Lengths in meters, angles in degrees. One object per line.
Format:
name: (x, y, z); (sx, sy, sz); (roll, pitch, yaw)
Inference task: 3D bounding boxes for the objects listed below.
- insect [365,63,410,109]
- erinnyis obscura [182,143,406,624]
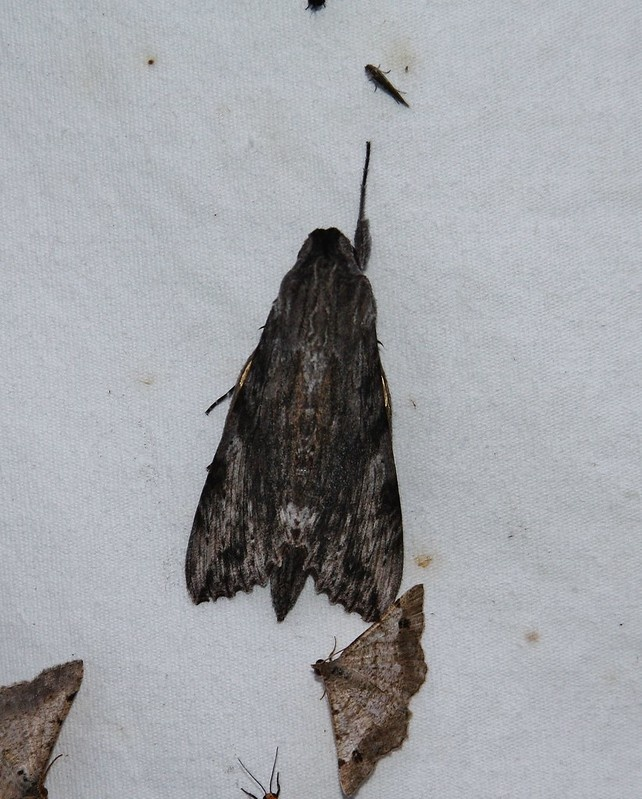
insect: (0.189, -0.929, 3.756); (0.149, 0.047, 0.105); (42, 99, -9)
erinnyis obscura: (-0.012, 0.040, 3.592); (0.597, 0.303, 1.097); (6, 100, 0)
